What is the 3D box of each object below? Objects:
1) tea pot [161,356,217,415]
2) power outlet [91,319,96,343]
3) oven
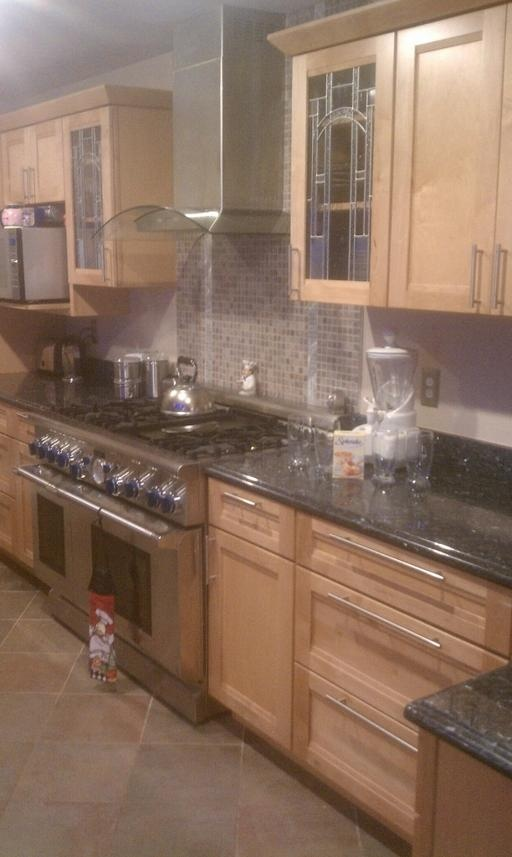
[{"bbox_3d":[-0.292,-0.178,2.576,0.184,0.226,0.199,3,18,-1],"label":"tea pot"},{"bbox_3d":[-0.975,-0.585,3.736,0.066,0.144,0.014,6,9,41],"label":"power outlet"},{"bbox_3d":[-0.546,0.475,2.352,0.967,0.809,0.301,14,14,40],"label":"oven"}]
